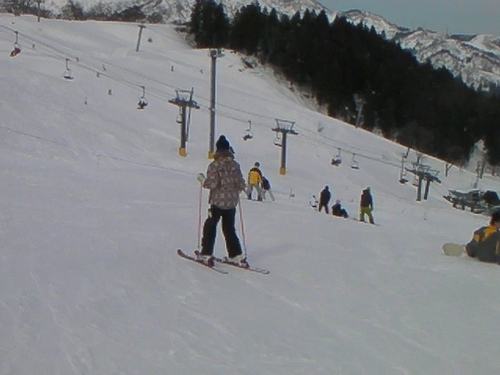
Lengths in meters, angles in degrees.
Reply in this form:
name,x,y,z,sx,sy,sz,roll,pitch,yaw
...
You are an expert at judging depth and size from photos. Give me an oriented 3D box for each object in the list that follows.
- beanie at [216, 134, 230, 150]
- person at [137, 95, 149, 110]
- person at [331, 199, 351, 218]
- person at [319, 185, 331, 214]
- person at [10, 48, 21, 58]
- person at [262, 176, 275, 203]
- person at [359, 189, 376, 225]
name,x,y,z,sx,sy,sz,roll,pitch,yaw
beanie,-0.718,-1.198,20.677,0.302,0.383,0.352,2,-9,3
person,-5.503,-4.476,40.447,0.606,0.518,0.967,19,-18,-5
person,3.294,0.757,28.701,0.556,0.530,1.195,11,12,9
person,2.820,0.422,29.722,0.352,0.928,0.742,9,11,5
person,-13.976,-8.127,46.886,0.368,0.522,0.873,10,12,8
person,0.682,-0.015,29.265,0.275,1.129,0.420,-1,20,-3
person,4.252,0.683,28.208,0.599,1.164,1.196,9,11,3
